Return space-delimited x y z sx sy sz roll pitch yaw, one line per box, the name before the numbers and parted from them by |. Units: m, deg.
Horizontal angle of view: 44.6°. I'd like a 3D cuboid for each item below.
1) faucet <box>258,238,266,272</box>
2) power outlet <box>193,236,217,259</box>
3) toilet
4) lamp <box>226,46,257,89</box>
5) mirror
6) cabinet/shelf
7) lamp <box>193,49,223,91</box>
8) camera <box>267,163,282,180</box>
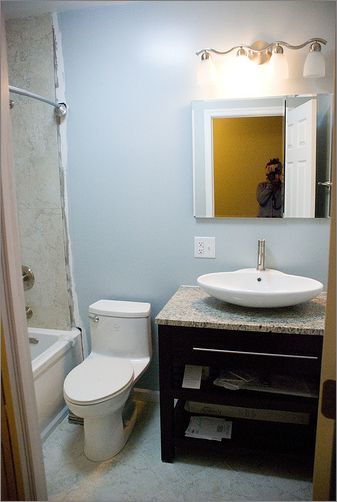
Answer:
faucet | 0.448 0.018 1.994 0.027 0.148 0.055 -4 10 -21
power outlet | 0.193 -0.024 2.124 0.112 0.116 0.013 1 8 14
toilet | -0.299 0.623 1.978 0.344 0.606 0.563 2 10 17
lamp | 0.341 -0.857 1.899 0.131 0.179 0.080 1 9 10
mirror | 0.458 -0.476 1.946 0.678 0.601 0.063 2 10 15
cabinet/shelf | 0.304 0.581 1.672 0.693 0.602 0.276 1 8 13
lamp | 0.184 -0.861 1.905 0.104 0.167 0.166 0 9 5
camera | 0.502 -0.381 1.949 0.057 0.081 0.080 1 -2 17
